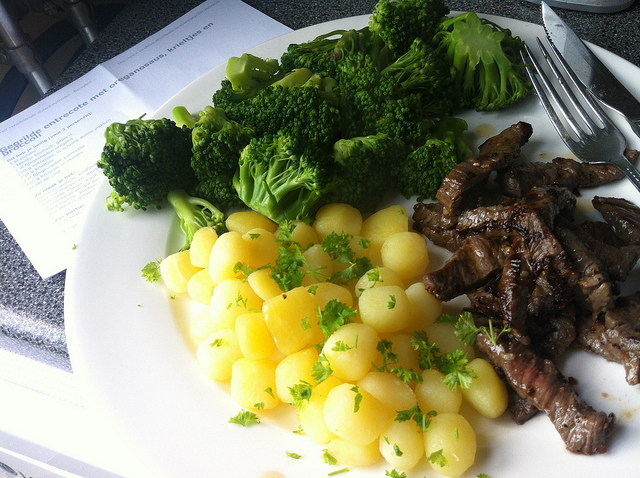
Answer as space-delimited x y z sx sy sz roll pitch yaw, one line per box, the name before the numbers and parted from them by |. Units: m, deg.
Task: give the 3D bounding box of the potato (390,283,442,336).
potato | 0.331 0.226 1.901 0.145 0.088 0.179 -26 97 -1

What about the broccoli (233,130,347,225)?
broccoli | -0.113 -0.266 2.209 0.370 0.374 0.269 30 72 8

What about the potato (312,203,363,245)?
potato | 0.059 -0.095 2.157 0.188 0.161 0.103 -11 94 -11

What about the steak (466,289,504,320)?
steak | 0.560 0.221 1.850 0.100 0.067 0.026 34 32 34

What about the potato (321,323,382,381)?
potato | 0.095 0.346 1.701 0.134 0.100 0.180 20 56 20

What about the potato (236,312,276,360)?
potato | -0.218 0.320 1.793 0.139 0.053 0.135 -12 87 -38

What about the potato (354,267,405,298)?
potato | 0.197 0.151 1.874 0.120 0.069 0.119 -12 38 21

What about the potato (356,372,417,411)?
potato | 0.205 0.455 1.713 0.159 0.090 0.101 20 27 13

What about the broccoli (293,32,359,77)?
broccoli | 0.044 -0.766 2.365 0.255 0.111 0.174 -31 45 6

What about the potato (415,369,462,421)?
potato | 0.373 0.500 1.715 0.108 0.084 0.144 -29 81 13

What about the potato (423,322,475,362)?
potato | 0.433 0.340 1.823 0.165 0.086 0.123 -1 60 8

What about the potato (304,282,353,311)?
potato | 0.024 0.190 1.885 0.129 0.157 0.078 19 101 53

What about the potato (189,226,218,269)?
potato | -0.426 0.032 2.050 0.089 0.085 0.147 9 76 13

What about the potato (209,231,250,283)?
potato | -0.322 0.056 1.958 0.097 0.127 0.172 14 64 31

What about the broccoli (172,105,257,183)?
broccoli | -0.503 -0.431 2.326 0.454 0.218 0.346 14 45 41

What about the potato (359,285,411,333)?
potato | 0.213 0.231 1.787 0.149 0.082 0.152 -5 69 4

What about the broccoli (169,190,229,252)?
broccoli | -0.491 -0.135 2.329 0.149 0.283 0.363 -57 26 6

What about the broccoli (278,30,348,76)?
broccoli | -0.039 -0.868 2.461 0.309 0.176 0.131 -17 66 -26

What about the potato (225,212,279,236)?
potato | -0.264 -0.069 2.120 0.188 0.092 0.073 -6 95 -18

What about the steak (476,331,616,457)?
steak | 0.720 0.492 1.787 0.203 0.111 0.443 -44 64 -3

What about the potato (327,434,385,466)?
potato | 0.107 0.663 1.693 0.145 0.189 0.052 15 96 52

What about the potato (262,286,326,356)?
potato | -0.081 0.270 1.792 0.168 0.156 0.173 -25 59 -6

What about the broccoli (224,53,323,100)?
broccoli | -0.216 -0.696 2.348 0.320 0.234 0.153 -1 104 13

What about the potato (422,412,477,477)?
potato | 0.385 0.610 1.631 0.140 0.134 0.181 0 67 6

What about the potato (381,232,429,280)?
potato | 0.314 0.068 2.058 0.166 0.161 0.171 -2 84 5

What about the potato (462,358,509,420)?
potato | 0.528 0.480 1.768 0.178 0.137 0.096 40 97 13

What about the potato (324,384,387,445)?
potato | 0.140 0.508 1.673 0.087 0.164 0.132 -11 104 35

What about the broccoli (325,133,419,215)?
broccoli | 0.171 -0.258 2.138 0.334 0.137 0.264 -40 106 -22

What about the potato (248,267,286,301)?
potato | -0.189 0.177 1.908 0.107 0.130 0.075 -3 94 -24

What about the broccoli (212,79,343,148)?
broccoli | -0.166 -0.510 2.209 0.416 0.132 0.292 11 65 33

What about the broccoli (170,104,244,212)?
broccoli | -0.440 -0.363 2.267 0.228 0.326 0.416 -22 63 -3

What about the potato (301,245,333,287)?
potato | -0.010 0.095 1.959 0.105 0.072 0.154 -4 60 6

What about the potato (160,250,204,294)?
potato | -0.510 0.083 2.068 0.060 0.132 0.168 -61 37 19

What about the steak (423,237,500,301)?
steak | 0.491 0.140 1.931 0.274 0.106 0.158 -37 77 -15

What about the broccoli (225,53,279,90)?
broccoli | -0.301 -0.717 2.391 0.201 0.143 0.107 -30 106 -16

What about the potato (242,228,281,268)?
potato | -0.209 0.032 2.031 0.109 0.081 0.145 -7 54 -13

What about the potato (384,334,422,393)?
potato | 0.273 0.389 1.781 0.047 0.152 0.149 -47 42 26

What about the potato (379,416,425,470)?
potato | 0.237 0.609 1.653 0.130 0.147 0.163 5 54 -16

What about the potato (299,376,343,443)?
potato | -0.008 0.528 1.679 0.145 0.054 0.178 26 95 47

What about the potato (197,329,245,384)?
potato | -0.328 0.388 1.880 0.151 0.097 0.178 38 88 11

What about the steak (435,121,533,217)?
steak | 0.625 -0.253 2.082 0.430 0.126 0.125 -41 60 -13

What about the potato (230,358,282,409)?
potato | -0.214 0.475 1.793 0.149 0.100 0.157 -9 59 4

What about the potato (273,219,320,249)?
potato | -0.056 -0.028 2.036 0.109 0.110 0.061 14 91 -9
